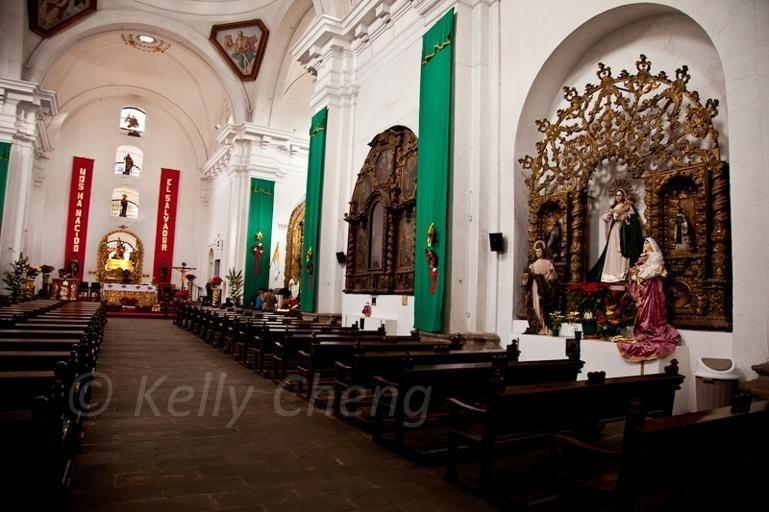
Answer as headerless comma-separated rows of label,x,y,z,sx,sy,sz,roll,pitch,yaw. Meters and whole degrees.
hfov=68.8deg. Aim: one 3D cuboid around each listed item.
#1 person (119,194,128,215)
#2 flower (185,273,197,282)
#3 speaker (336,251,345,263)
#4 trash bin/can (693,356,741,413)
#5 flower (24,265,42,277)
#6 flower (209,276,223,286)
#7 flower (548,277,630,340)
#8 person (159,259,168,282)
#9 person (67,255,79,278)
person,-11.723,-2.272,25.192,0.275,0.963,0.738,0,6,-5
flower,-8.460,0.946,24.495,0.330,0.167,0.387,0,-5,12
speaker,-1.054,0.040,13.601,0.237,0.324,0.243,-2,0,-10
trash bin/can,4.310,1.689,7.234,0.522,0.769,0.492,-1,-5,20
flower,-11.274,0.480,17.921,0.504,0.242,0.512,-6,-14,30
flower,-6.150,0.873,20.426,0.398,0.414,0.405,1,-11,-8
flower,3.135,0.812,8.421,0.823,0.667,0.956,2,-3,-22
person,-9.984,0.669,25.407,0.232,1.044,0.398,6,8,44
person,-12.964,0.409,23.397,0.443,1.016,1.139,-3,7,-29
